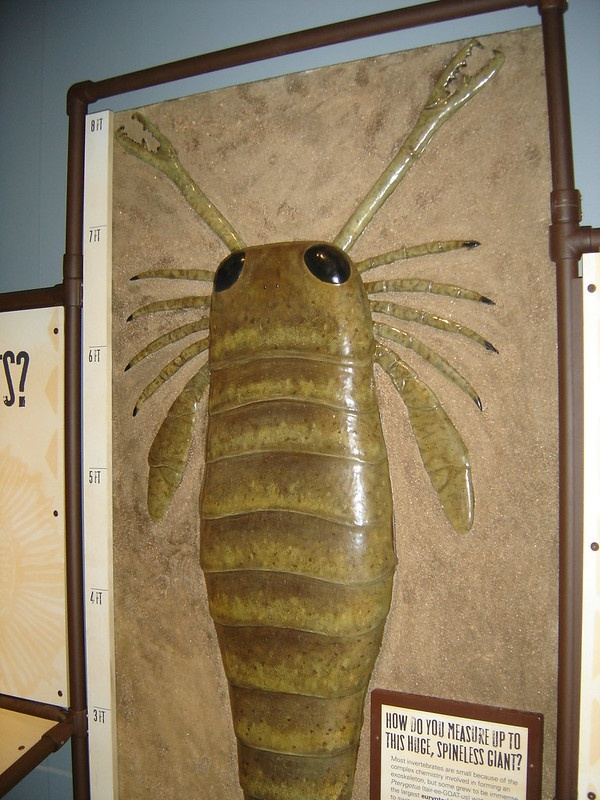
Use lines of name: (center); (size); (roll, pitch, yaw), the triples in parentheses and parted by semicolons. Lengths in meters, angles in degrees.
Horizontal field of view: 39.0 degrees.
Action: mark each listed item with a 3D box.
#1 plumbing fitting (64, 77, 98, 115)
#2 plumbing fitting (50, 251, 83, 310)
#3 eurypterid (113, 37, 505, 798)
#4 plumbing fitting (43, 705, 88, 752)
plumbing fitting: (-0.406, -0.556, 1.561); (0.071, 0.072, 0.045); (1, 0, -6)
plumbing fitting: (-0.443, -0.221, 1.579); (0.041, 0.129, 0.068); (16, 18, 10)
eurypterid: (-0.008, 0.044, 1.394); (0.680, 1.197, 0.143); (-2, -7, 25)
plumbing fitting: (-0.417, 0.588, 1.498); (0.064, 0.057, 0.019); (-3, -20, 20)
